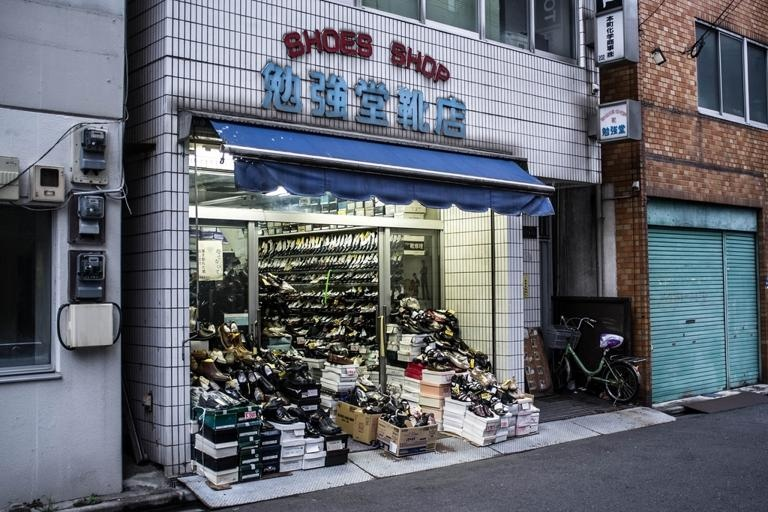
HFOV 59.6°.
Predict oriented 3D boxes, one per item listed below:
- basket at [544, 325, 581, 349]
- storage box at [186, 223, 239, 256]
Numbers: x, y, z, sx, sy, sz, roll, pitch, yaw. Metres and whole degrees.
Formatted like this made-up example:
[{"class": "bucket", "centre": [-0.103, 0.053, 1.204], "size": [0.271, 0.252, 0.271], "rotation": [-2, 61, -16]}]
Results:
[{"class": "basket", "centre": [3.881, 1.760, 14.404], "size": [0.615, 0.400, 0.481], "rotation": [4, -3, -16]}, {"class": "storage box", "centre": [-2.786, -0.290, 10.908], "size": [0.377, 0.492, 0.945], "rotation": [3, 4, 26]}]
